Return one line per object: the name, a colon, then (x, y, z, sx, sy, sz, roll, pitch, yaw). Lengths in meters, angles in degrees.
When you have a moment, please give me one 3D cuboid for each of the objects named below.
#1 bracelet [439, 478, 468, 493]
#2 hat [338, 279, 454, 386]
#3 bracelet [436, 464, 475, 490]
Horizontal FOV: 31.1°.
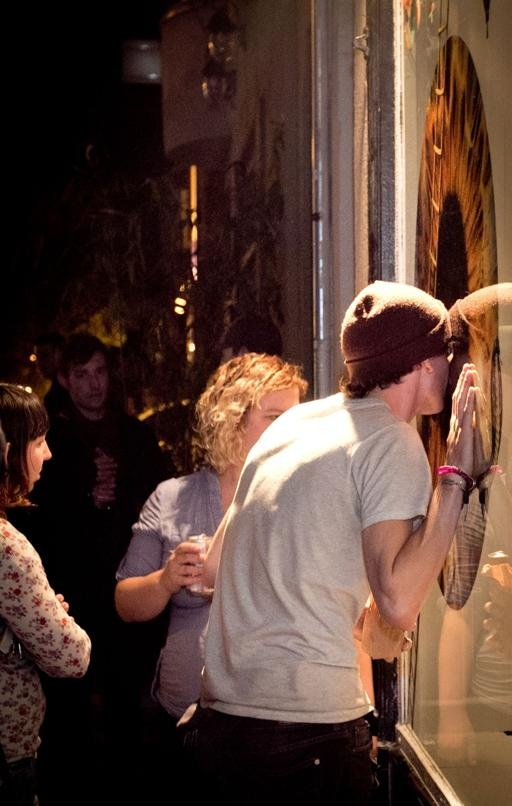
bracelet: (0.312, 0.127, 1.444, 0.040, 0.023, 0.022, 2, 9, 7)
hat: (0.239, -0.118, 1.636, 0.171, 0.174, 0.171, -17, 17, 8)
bracelet: (0.321, 0.110, 1.479, 0.043, 0.015, 0.046, 37, -11, -35)
